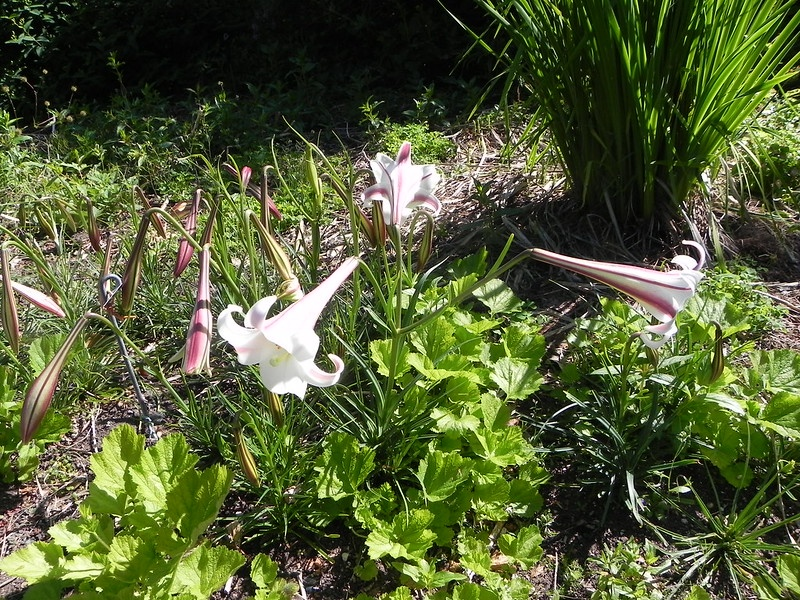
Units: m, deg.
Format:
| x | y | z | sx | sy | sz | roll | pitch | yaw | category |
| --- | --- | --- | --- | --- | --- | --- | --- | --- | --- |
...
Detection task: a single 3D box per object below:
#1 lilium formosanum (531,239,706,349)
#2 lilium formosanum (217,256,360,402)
| x | y | z | sx | sy | sz | roll | pitch | yaw | category |
| --- | --- | --- | --- | --- | --- | --- | --- | --- | --- |
| 0.778 | -0.034 | 2.665 | 0.558 | 0.377 | 0.355 | 19 | 85 | 0 | lilium formosanum |
| -0.353 | 0.088 | 2.438 | 0.300 | 0.285 | 0.481 | 21 | 42 | 19 | lilium formosanum |
